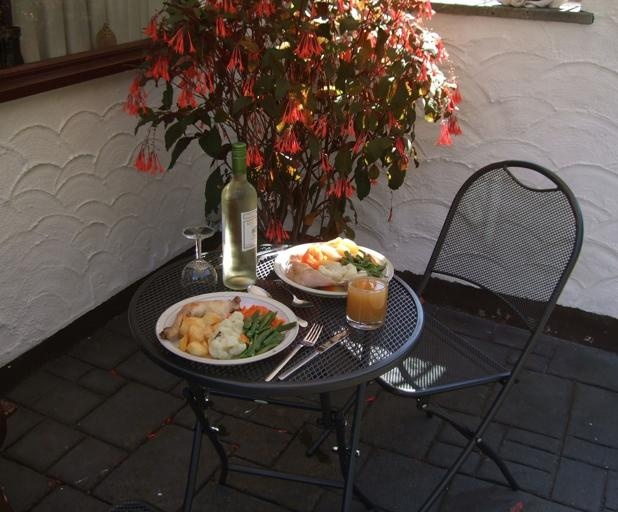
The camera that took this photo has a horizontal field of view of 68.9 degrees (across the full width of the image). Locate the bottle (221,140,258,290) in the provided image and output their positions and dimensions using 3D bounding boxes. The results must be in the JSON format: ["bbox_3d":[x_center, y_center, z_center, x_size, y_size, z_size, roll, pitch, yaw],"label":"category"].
[{"bbox_3d":[-0.172,-0.090,1.046,0.089,0.345,0.097,10,24,15],"label":"bottle"}]

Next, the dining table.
[{"bbox_3d":[-0.084,0.300,1.180,0.609,0.757,0.619,-19,38,-41],"label":"dining table"}]

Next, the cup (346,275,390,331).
[{"bbox_3d":[0.121,0.103,0.943,0.072,0.116,0.082,1,25,2],"label":"cup"}]
